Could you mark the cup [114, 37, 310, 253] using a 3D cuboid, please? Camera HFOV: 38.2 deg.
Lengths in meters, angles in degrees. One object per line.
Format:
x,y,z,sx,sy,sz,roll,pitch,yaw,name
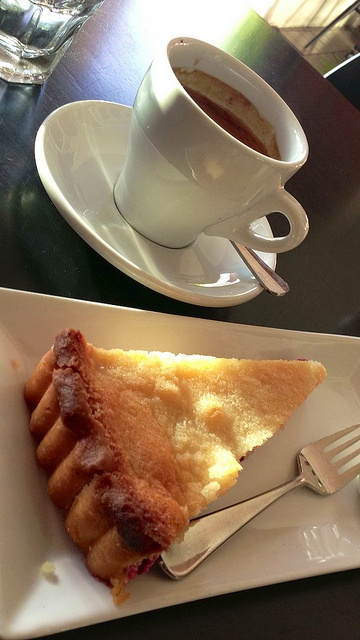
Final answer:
-0.005,-0.215,0.663,0.209,0.175,0.270,1,61,-49,cup
